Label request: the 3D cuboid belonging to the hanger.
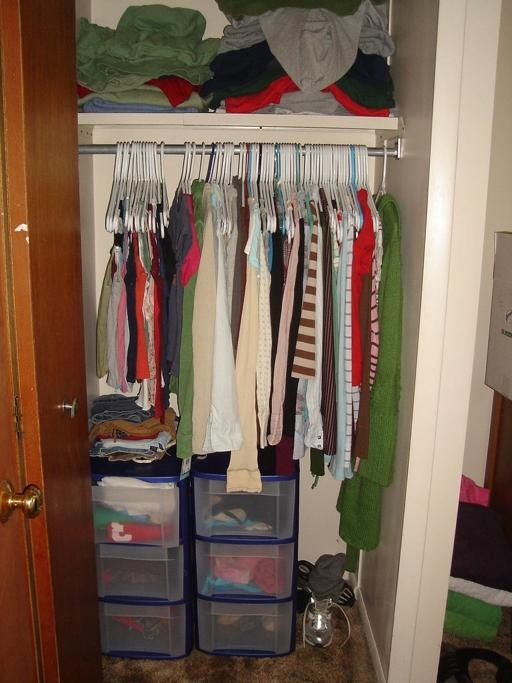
[{"bbox_3d":[-0.023,-0.416,1.673,0.737,0.241,0.257,2,12,10],"label":"hanger"}]
